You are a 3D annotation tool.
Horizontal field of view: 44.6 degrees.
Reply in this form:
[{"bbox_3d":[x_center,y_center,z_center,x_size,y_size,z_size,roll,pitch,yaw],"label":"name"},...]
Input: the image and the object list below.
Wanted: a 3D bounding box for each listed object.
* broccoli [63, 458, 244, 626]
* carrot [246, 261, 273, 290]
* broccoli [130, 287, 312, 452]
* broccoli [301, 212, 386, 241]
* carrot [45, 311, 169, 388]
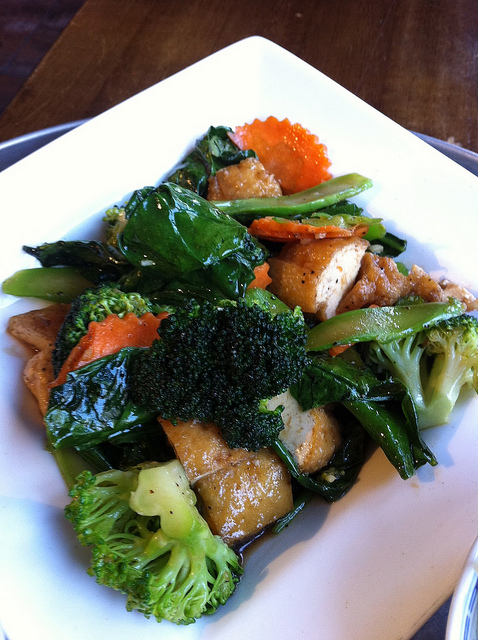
[{"bbox_3d":[-0.190,0.474,1.244,0.279,0.233,0.367,-27,64,-14],"label":"broccoli"},{"bbox_3d":[0.050,-0.115,1.509,0.051,0.055,0.073,11,64,16],"label":"carrot"},{"bbox_3d":[-0.046,0.119,1.274,0.399,0.214,0.305,-4,61,-3],"label":"broccoli"},{"bbox_3d":[0.297,-0.245,1.570,0.168,0.033,0.101,8,30,21],"label":"broccoli"},{"bbox_3d":[-0.278,0.047,1.295,0.210,0.197,0.061,-37,94,-6],"label":"carrot"}]
